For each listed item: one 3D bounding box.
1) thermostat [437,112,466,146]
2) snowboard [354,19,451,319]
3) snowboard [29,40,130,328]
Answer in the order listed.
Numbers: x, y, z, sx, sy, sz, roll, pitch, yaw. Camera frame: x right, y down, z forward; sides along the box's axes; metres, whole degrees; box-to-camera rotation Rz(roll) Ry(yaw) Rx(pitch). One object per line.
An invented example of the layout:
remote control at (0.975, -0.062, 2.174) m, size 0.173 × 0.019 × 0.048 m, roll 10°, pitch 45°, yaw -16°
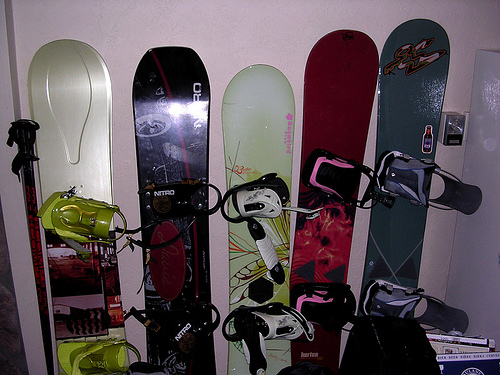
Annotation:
thermostat at (1.630, -0.478, 3.548) m, size 0.171 × 0.261 × 0.237 m, roll -2°, pitch 23°, yaw -6°
snowboard at (1.215, 0.088, 3.680) m, size 0.539 × 2.755 × 0.295 m, roll 3°, pitch 15°, yaw 1°
snowboard at (-1.316, 0.213, 3.370) m, size 0.520 × 2.650 × 0.264 m, roll -4°, pitch -6°, yaw -17°
